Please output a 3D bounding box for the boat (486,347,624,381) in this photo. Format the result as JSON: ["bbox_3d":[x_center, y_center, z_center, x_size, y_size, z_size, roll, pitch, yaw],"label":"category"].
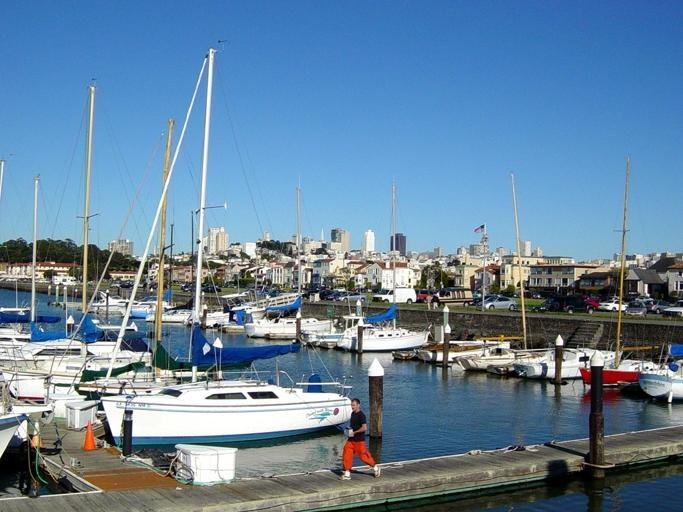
[{"bbox_3d":[11.666,6.188,43.306,6.832,1.696,2.635,-2,2,-15],"label":"boat"}]

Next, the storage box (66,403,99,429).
[{"bbox_3d":[-8.965,5.490,29.165,0.809,0.754,1.102,0,-5,21],"label":"storage box"}]

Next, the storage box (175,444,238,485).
[{"bbox_3d":[-4.069,6.132,24.730,1.789,1.033,0.807,0,1,-6],"label":"storage box"}]

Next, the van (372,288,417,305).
[{"bbox_3d":[5.422,3.999,84.420,3.899,1.595,2.296,1,-2,12],"label":"van"}]

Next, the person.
[{"bbox_3d":[0.450,5.477,25.162,1.168,2.449,0.986,0,-1,-45],"label":"person"}]
